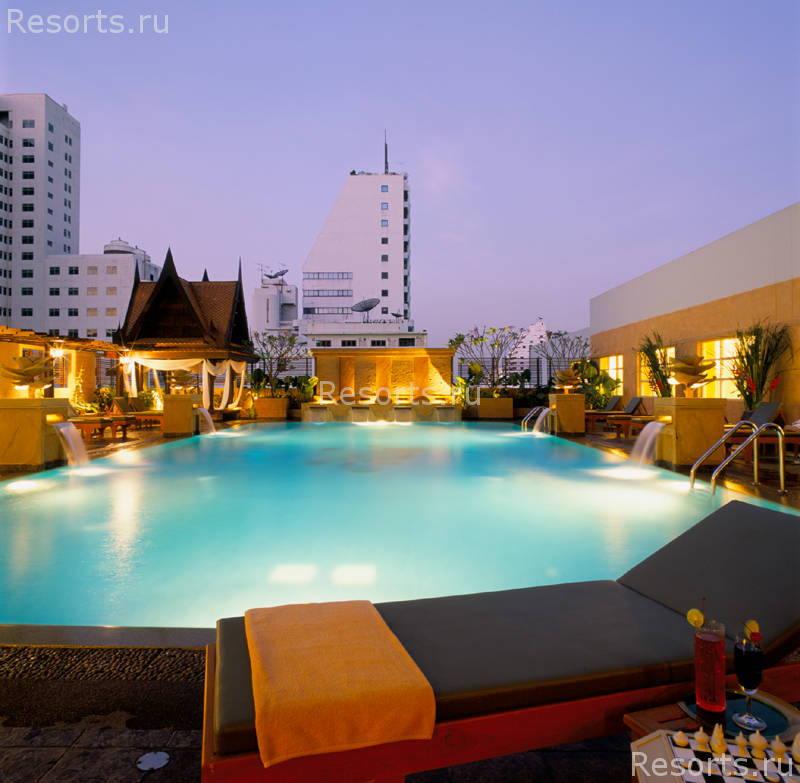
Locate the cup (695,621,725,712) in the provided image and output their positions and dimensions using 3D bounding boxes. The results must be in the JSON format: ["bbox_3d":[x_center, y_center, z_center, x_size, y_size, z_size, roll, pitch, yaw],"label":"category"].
[{"bbox_3d":[1.162,1.036,2.638,0.104,0.343,0.196,2,5,28],"label":"cup"}]

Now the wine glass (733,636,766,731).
[{"bbox_3d":[1.319,1.073,2.652,0.110,0.339,0.249,2,6,29],"label":"wine glass"}]

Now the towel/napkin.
[{"bbox_3d":[-0.265,1.137,2.823,0.668,0.305,0.727,-1,5,-15],"label":"towel/napkin"}]
